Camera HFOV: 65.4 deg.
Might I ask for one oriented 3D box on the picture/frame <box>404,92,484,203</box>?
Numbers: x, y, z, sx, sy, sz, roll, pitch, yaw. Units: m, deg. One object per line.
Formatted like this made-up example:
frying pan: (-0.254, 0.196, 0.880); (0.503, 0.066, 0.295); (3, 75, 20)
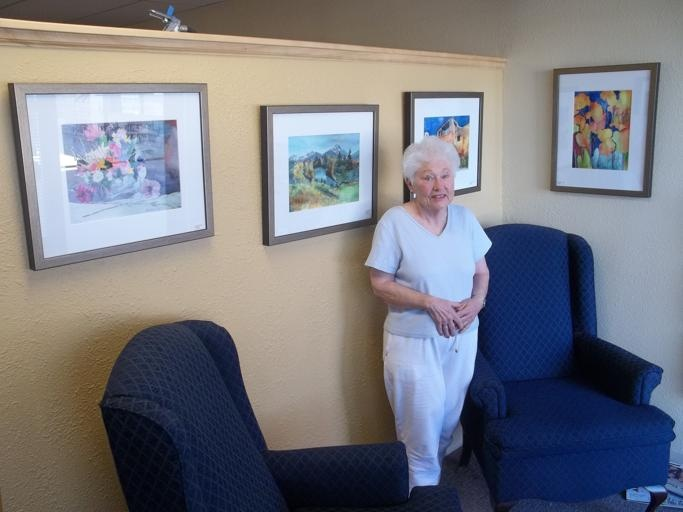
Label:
picture/frame: (0.540, -0.622, 2.916); (0.027, 0.637, 0.681); (6, 15, 39)

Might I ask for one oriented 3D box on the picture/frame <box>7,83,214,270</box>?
picture/frame: (-0.828, -0.291, 1.860); (0.651, 0.562, 0.045); (-13, 17, -43)

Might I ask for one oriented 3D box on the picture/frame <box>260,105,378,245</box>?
picture/frame: (-0.125, -0.399, 2.495); (0.646, 0.566, 0.046); (-12, 18, -41)

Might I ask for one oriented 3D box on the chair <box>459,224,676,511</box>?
chair: (1.169, 0.536, 2.951); (0.996, 1.209, 1.035); (0, 14, 5)

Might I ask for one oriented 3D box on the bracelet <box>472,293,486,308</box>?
bracelet: (0.689, 0.222, 2.709); (0.062, 0.080, 0.034); (-2, -4, -16)
